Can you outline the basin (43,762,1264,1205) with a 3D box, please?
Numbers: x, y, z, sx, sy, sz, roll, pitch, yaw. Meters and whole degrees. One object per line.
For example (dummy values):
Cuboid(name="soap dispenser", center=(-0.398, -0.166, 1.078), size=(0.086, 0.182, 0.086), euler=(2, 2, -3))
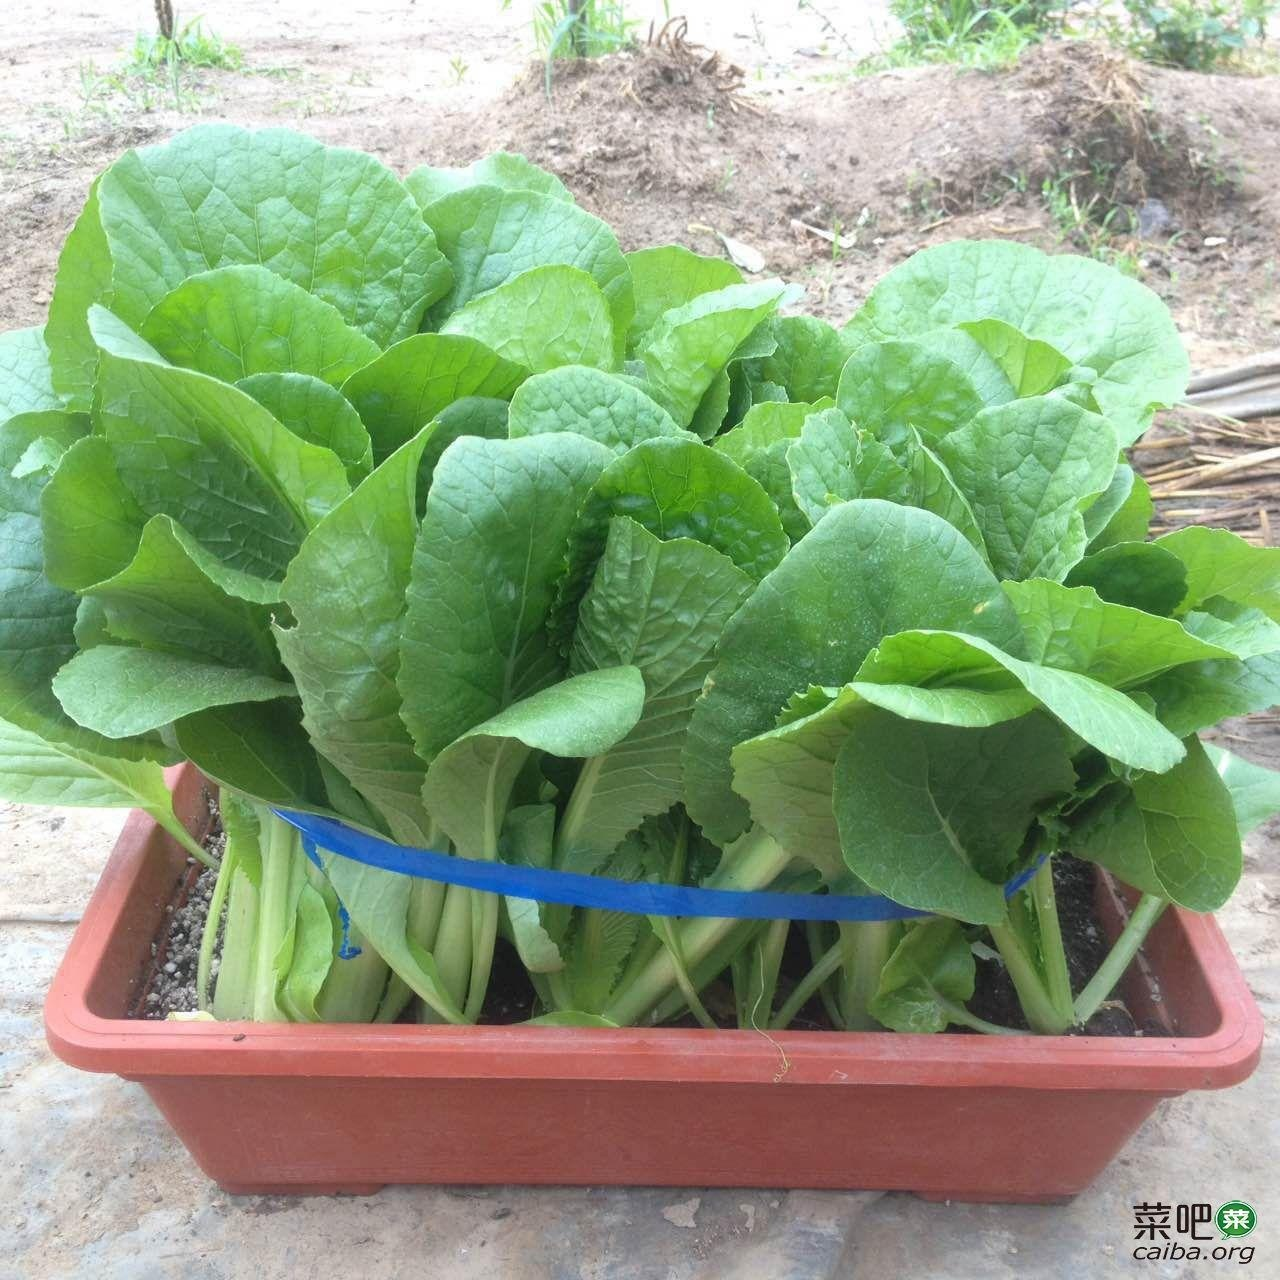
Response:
Cuboid(name="basin", center=(0.029, 0.324, 1.174), size=(0.808, 0.242, 0.538), euler=(-1, 42, -2))
